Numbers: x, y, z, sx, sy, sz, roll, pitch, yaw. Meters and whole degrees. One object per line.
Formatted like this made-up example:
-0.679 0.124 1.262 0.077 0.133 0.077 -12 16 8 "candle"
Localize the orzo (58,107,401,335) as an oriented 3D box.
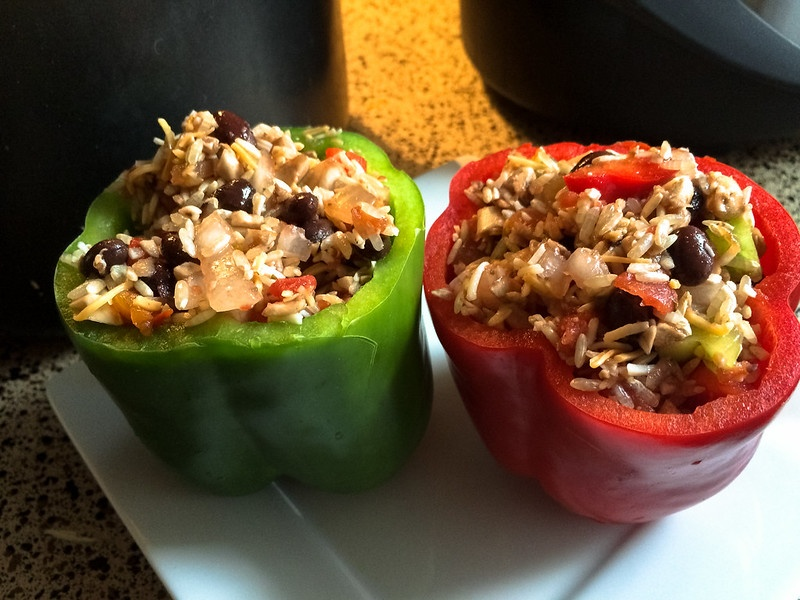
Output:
-0.301 -0.131 1.304 0.588 0.168 0.431 -1 56 -4 "orzo"
